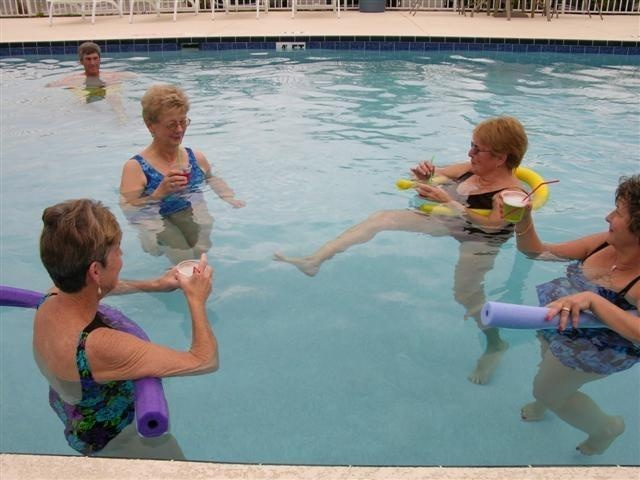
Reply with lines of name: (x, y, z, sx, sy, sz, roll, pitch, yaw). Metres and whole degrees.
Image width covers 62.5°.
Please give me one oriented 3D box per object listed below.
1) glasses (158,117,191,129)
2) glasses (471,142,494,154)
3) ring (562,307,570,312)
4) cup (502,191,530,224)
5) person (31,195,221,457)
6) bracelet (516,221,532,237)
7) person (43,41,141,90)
glasses: (-1.278, -1.028, 4.606, 0.204, 0.052, 0.190, -14, 26, -37)
glasses: (1.391, -0.788, 4.561, 0.164, 0.051, 0.132, 5, 36, -7)
ring: (1.499, 0.424, 3.214, 0.038, 0.017, 0.043, 9, 22, 22)
cup: (1.415, -0.251, 3.911, 0.262, 0.166, 0.219, 1, 36, -4)
person: (-1.174, 0.578, 3.238, 1.035, 1.577, 0.987, -26, 52, -35)
bracelet: (1.569, -0.098, 4.074, 0.133, 0.111, 0.097, -6, 24, -36)
person: (-3.760, -2.844, 8.766, 1.506, 0.547, 0.448, -3, 14, -12)
